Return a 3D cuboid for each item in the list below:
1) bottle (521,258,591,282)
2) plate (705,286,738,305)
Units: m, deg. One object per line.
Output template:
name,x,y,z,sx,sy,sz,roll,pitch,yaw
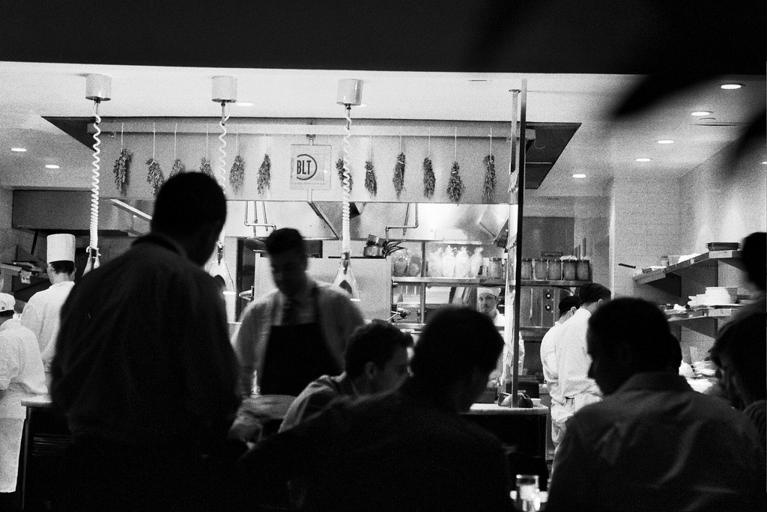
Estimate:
bottle,1.573,0.129,8.684,0.619,0.246,0.163,2,-4,13
plate,2.229,0.272,6.302,0.140,0.081,0.136,1,-2,-7
